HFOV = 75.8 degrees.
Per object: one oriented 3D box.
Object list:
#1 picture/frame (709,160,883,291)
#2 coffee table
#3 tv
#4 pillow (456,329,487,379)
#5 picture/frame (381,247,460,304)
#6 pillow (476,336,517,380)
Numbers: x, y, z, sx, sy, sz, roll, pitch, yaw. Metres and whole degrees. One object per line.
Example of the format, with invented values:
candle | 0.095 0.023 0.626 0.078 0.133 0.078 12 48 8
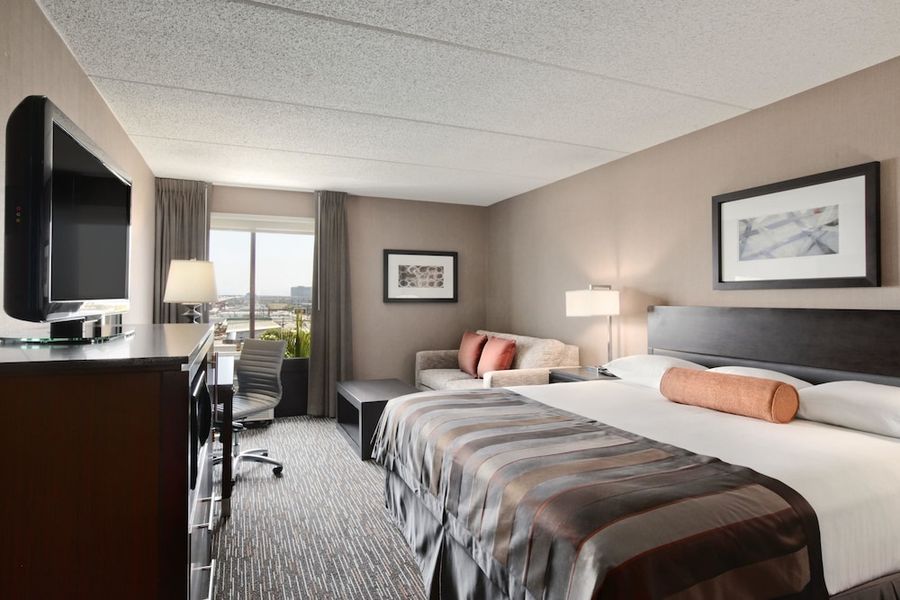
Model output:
picture/frame | 2.321 -0.486 3.824 0.050 0.677 1.058 1 -3 -35
coffee table | -0.620 1.210 5.180 0.590 0.434 0.993 0 2 -22
tv | -1.593 -0.302 2.400 0.249 0.949 0.704 -3 9 -10
pillow | 0.228 0.600 6.286 0.189 0.322 0.498 2 0 -14
picture/frame | -0.408 -0.291 6.908 0.808 0.485 0.030 1 -3 -21
pillow | 0.484 0.543 6.457 0.240 0.406 0.643 6 11 31
